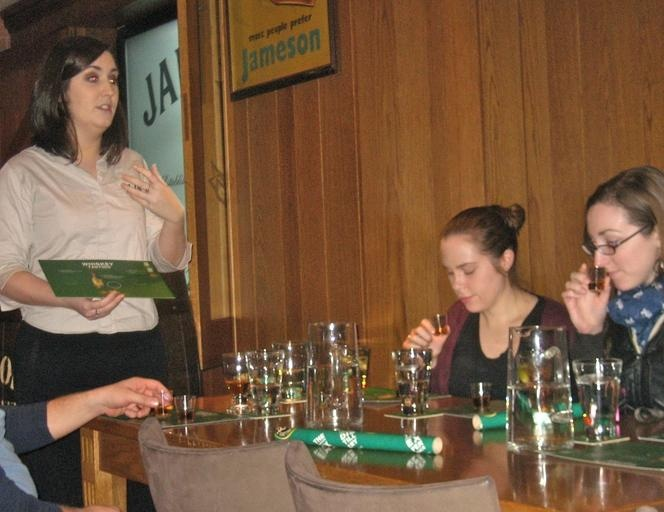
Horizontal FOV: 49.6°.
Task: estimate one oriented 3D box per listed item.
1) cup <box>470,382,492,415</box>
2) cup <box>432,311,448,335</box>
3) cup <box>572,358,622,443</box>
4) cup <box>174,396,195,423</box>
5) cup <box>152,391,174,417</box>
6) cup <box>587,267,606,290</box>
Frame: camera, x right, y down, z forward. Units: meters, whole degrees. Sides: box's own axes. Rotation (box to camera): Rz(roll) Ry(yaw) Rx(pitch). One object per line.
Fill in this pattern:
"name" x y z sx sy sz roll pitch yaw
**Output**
"cup" 0.427 0.417 2.092 0.071 0.078 0.072 -1 -6 0
"cup" 0.401 0.242 2.581 0.076 0.074 0.038 2 -9 -43
"cup" 0.641 0.344 1.714 0.172 0.186 0.172 2 -17 1
"cup" -0.438 0.444 2.093 0.065 0.068 0.066 -1 -7 0
"cup" -0.505 0.438 2.164 0.070 0.078 0.070 0 -3 0
"cup" 0.857 0.071 2.312 0.055 0.084 0.052 2 -17 1
